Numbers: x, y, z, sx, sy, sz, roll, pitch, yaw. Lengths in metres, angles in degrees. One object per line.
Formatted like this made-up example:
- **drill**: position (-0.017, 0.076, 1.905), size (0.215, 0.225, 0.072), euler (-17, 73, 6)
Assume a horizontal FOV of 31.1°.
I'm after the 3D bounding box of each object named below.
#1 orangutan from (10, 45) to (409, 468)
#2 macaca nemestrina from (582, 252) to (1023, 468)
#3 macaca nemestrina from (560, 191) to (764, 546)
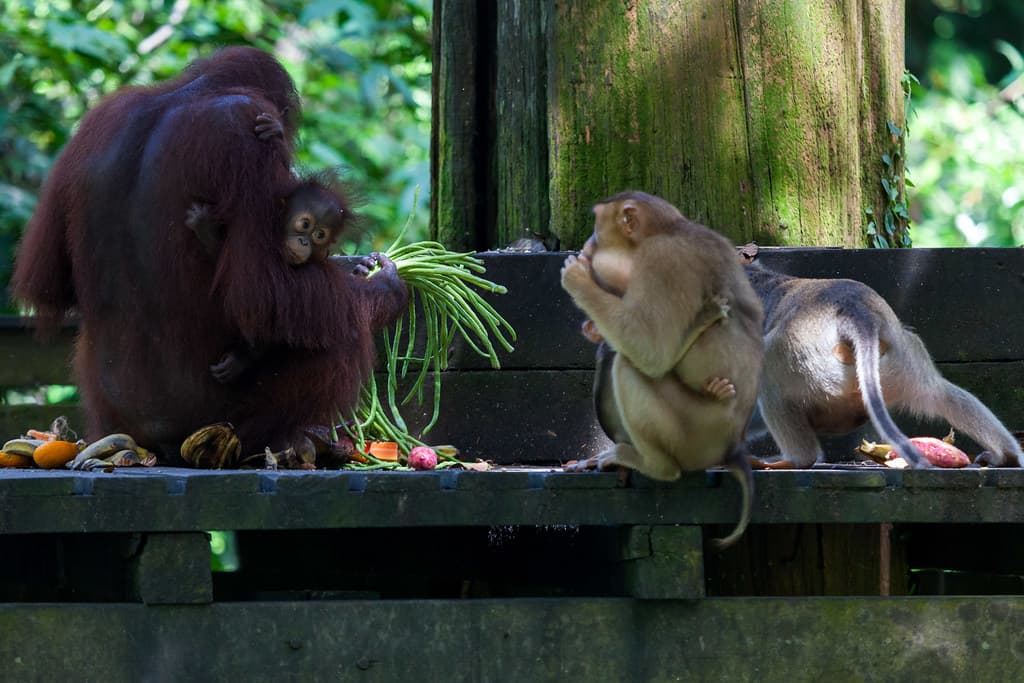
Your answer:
- **orangutan**: position (-1.462, -0.267, 8.590), size (1.178, 2.206, 1.960), euler (4, -10, -29)
- **macaca nemestrina**: position (1.295, 0.207, 8.761), size (0.952, 1.009, 1.912), euler (-28, 23, -36)
- **macaca nemestrina**: position (0.668, 0.116, 7.962), size (0.831, 1.527, 0.342), euler (-1, 4, 8)
